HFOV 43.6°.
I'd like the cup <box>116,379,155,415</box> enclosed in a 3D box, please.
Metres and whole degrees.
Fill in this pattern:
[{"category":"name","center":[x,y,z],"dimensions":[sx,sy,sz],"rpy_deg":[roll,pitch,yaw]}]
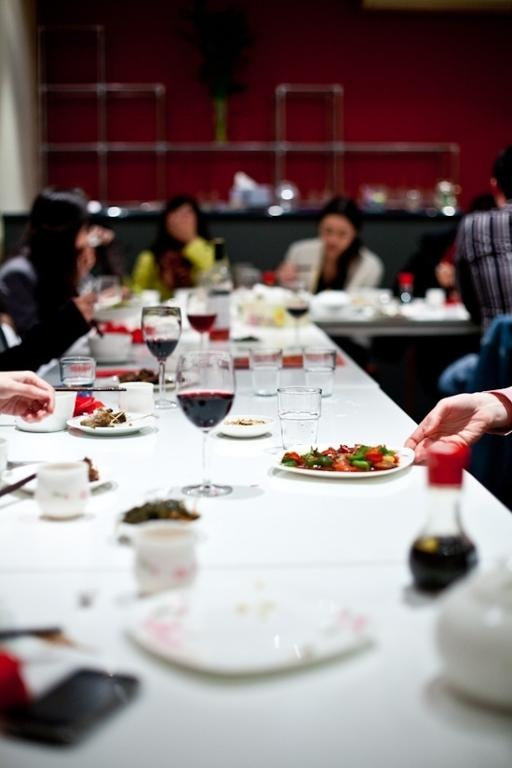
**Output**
[{"category":"cup","center":[-0.223,0.026,1.199],"dimensions":[0.063,0.059,0.061],"rpy_deg":[1,1,0]}]

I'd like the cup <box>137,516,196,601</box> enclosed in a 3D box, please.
[{"category":"cup","center":[-0.066,0.135,0.492],"dimensions":[0.043,0.042,0.043],"rpy_deg":[0,-3,0]}]

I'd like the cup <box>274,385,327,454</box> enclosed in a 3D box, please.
[{"category":"cup","center":[0.067,0.047,0.962],"dimensions":[0.088,0.126,0.086],"rpy_deg":[0,-1,0]}]

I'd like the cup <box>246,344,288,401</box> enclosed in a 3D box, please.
[{"category":"cup","center":[0.023,-0.027,1.461],"dimensions":[0.109,0.147,0.097],"rpy_deg":[1,-7,-4]}]

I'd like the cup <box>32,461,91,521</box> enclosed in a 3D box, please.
[{"category":"cup","center":[-0.200,0.110,0.679],"dimensions":[0.057,0.055,0.056],"rpy_deg":[3,4,0]}]

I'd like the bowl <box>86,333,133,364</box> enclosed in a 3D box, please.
[{"category":"bowl","center":[-0.417,-0.102,1.887],"dimensions":[0.096,0.060,0.099],"rpy_deg":[0,-2,0]}]
